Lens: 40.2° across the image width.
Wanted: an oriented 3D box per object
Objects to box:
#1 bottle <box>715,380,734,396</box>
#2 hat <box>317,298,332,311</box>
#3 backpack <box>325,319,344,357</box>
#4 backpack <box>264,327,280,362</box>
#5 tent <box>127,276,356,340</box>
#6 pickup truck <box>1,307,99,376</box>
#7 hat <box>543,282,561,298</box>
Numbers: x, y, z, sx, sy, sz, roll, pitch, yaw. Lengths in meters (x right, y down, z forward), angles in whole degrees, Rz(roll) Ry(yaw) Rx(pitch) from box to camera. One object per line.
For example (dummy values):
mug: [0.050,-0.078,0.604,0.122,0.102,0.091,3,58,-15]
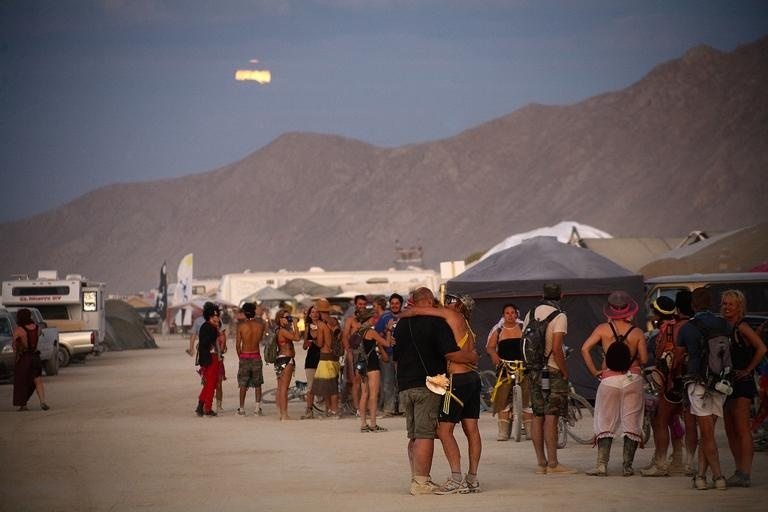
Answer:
bottle: [5.181,2.019,16.092,0.211,0.202,0.091,8,9,8]
hat: [-1.261,1.036,21.934,0.283,0.260,0.642,1,-8,-4]
backpack: [-1.017,1.685,21.731,0.290,0.805,0.573,-3,-8,26]
backpack: [-2.352,1.900,22.096,0.265,0.700,0.449,1,-7,-8]
tent: [-5.624,2.013,42.417,4.487,1.492,1.602,-3,-37,7]
pickup truck: [-9.577,2.450,30.096,2.476,2.178,4.610,0,-8,-4]
hat: [2.778,0.581,17.356,0.229,0.217,0.248,1,-9,-1]
